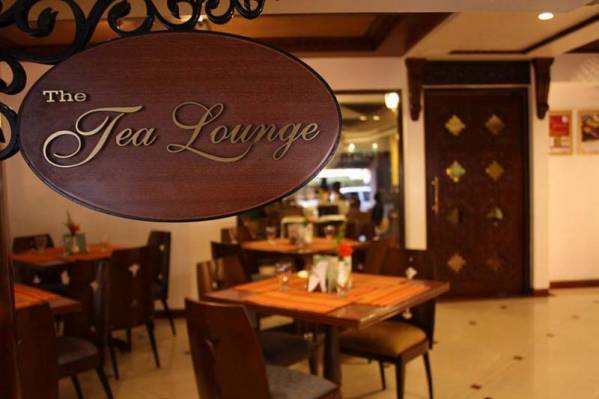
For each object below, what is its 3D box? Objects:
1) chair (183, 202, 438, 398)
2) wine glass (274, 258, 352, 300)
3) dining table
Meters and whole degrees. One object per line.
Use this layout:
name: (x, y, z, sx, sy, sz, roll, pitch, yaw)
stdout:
chair: (0.279, 0.696, 3.517, 1.338, 0.815, 1.355, 3, 5, 41)
wine glass: (0.177, 0.558, 3.486, 0.231, 0.160, 0.322, 4, 5, 37)
dining table: (0.284, 1.059, 3.759, 1.673, 0.794, 1.693, -2, 2, -19)
